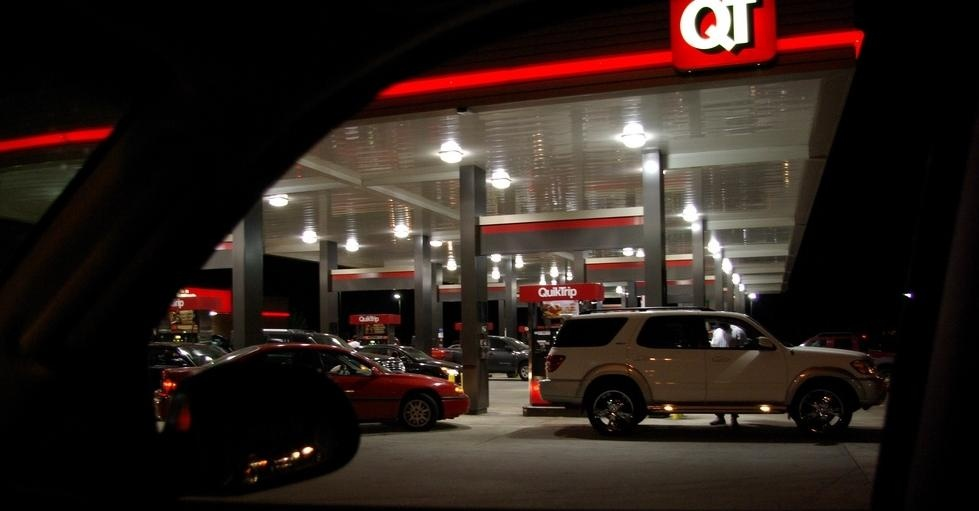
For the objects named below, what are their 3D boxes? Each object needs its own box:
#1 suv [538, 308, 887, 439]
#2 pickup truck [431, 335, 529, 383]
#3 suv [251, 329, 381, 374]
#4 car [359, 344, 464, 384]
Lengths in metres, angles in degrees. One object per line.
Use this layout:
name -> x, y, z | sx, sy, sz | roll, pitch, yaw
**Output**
suv -> 4.479, 2.366, 14.713 | 6.725, 1.988, 2.742 | -3, -7, 12
pickup truck -> -0.664, 4.961, 33.628 | 6.018, 1.694, 2.429 | -3, -4, 17
suv -> -5.283, 2.977, 21.344 | 4.023, 1.200, 1.634 | 0, -4, 0
car -> -2.473, 3.623, 23.609 | 3.527, 0.929, 1.400 | -2, -5, 22
